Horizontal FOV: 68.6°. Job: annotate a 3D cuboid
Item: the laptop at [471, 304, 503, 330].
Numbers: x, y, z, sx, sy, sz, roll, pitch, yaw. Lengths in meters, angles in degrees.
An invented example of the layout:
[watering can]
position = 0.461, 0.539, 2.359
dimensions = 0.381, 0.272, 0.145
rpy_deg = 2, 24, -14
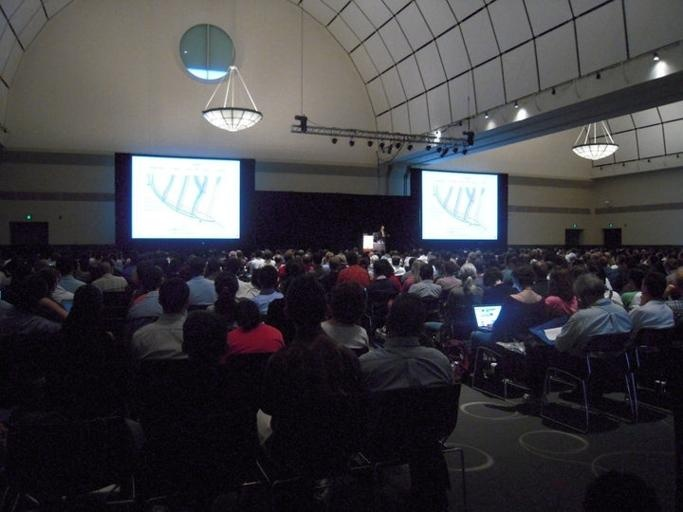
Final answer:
[laptop]
position = 1.968, 0.804, 6.738
dimensions = 0.368, 0.324, 0.240
rpy_deg = 3, 10, 2

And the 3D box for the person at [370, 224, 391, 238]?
[person]
position = 1.570, -1.086, 21.053
dimensions = 0.509, 0.839, 0.269
rpy_deg = 1, -4, -34
